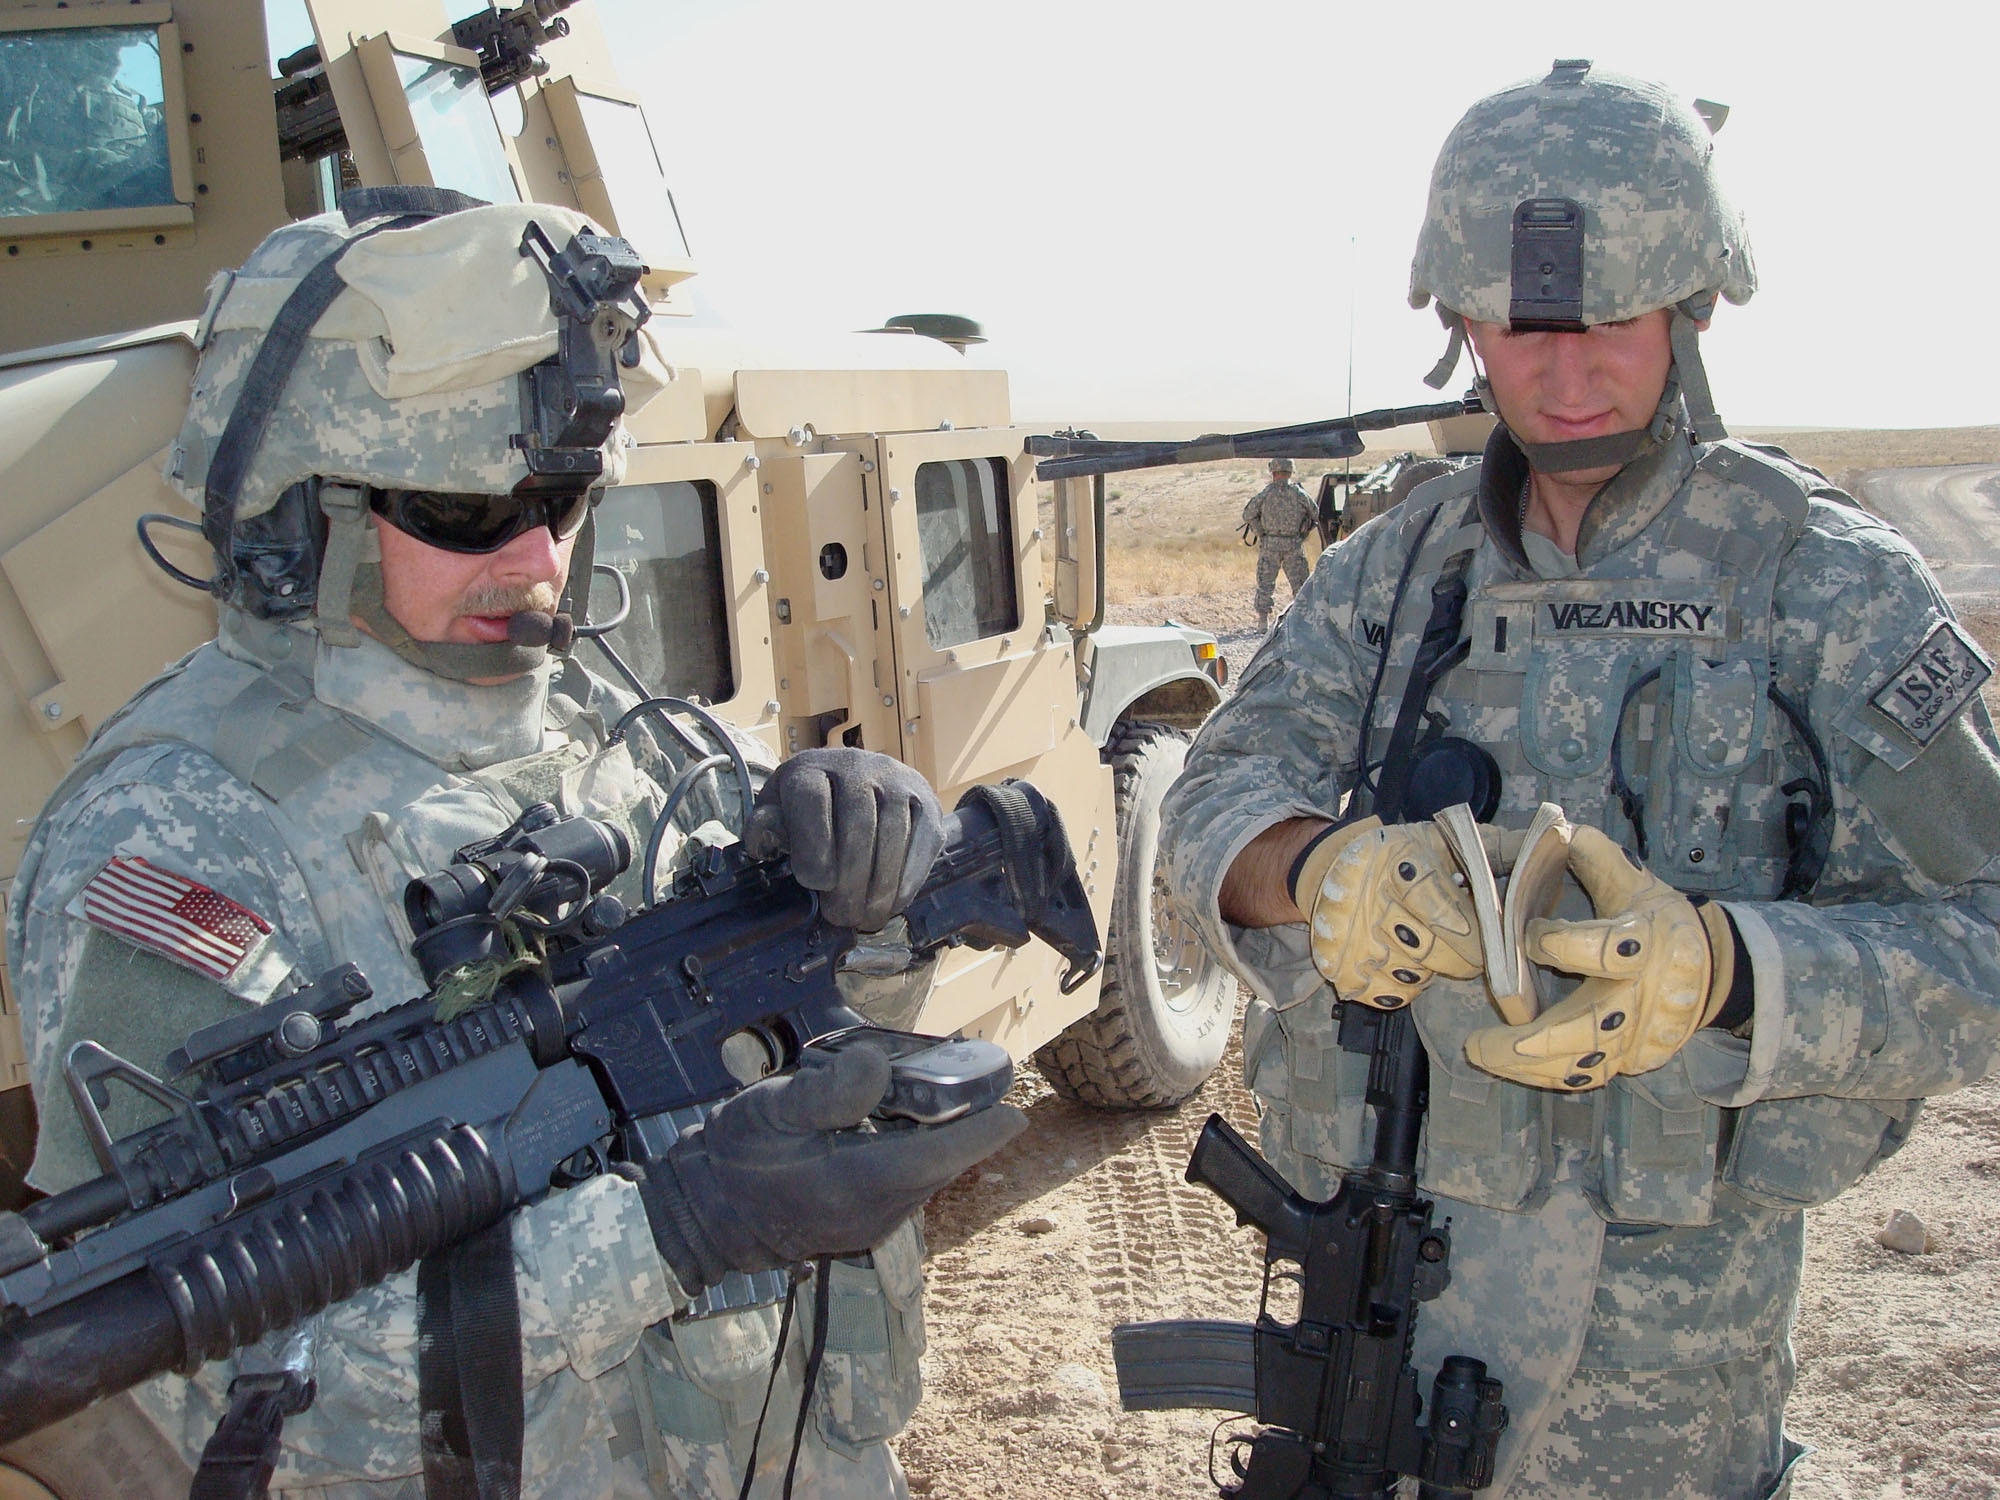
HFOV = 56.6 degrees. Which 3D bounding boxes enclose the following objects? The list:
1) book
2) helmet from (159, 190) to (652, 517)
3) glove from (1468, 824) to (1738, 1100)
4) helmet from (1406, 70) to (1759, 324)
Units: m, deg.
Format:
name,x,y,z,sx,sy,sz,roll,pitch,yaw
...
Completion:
name,x,y,z,sx,sy,sz,roll,pitch,yaw
book,0.758,0.235,2.770,0.116,0.285,0.286,2,49,13
helmet,-0.974,-0.681,2.975,0.542,0.406,0.534,13,22,24
glove,0.917,0.328,2.772,0.423,0.335,0.182,-33,-29,26
helmet,0.982,-0.959,3.148,0.577,0.440,0.344,4,16,23
